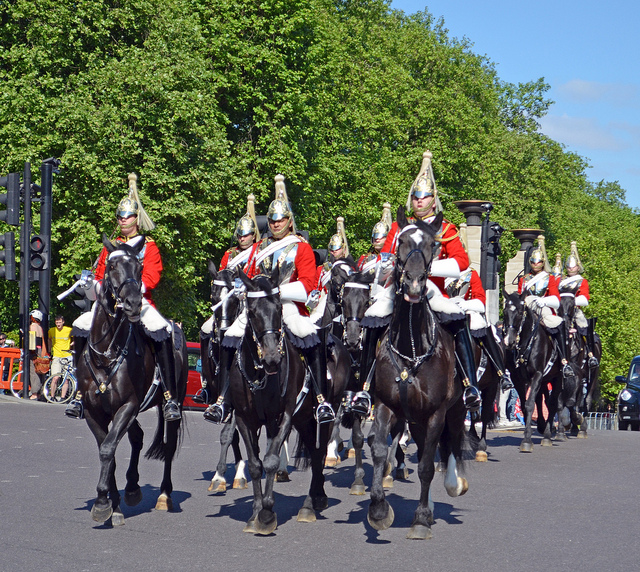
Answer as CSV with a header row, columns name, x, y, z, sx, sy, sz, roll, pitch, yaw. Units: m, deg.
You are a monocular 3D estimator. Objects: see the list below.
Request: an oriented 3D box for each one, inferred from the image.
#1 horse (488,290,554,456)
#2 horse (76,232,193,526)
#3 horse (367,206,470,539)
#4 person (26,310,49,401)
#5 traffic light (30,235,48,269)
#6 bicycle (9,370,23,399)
name,x,y,z,sx,sy,sz,roll,pitch,yaw
horse,4.197,1.923,26.158,1.174,3.048,4.290,-5,-31,16
horse,-2.569,1.234,17.654,1.180,3.949,2.264,2,-4,4
horse,1.296,1.158,17.174,0.977,4.290,2.152,1,-4,17
person,-6.635,1.650,30.500,0.505,2.109,1.005,3,-4,-13
traffic light,-5.864,-0.690,27.082,0.322,0.722,0.680,2,-4,7
bicycle,-7.230,2.338,30.873,0.266,0.640,1.143,3,-4,-18
